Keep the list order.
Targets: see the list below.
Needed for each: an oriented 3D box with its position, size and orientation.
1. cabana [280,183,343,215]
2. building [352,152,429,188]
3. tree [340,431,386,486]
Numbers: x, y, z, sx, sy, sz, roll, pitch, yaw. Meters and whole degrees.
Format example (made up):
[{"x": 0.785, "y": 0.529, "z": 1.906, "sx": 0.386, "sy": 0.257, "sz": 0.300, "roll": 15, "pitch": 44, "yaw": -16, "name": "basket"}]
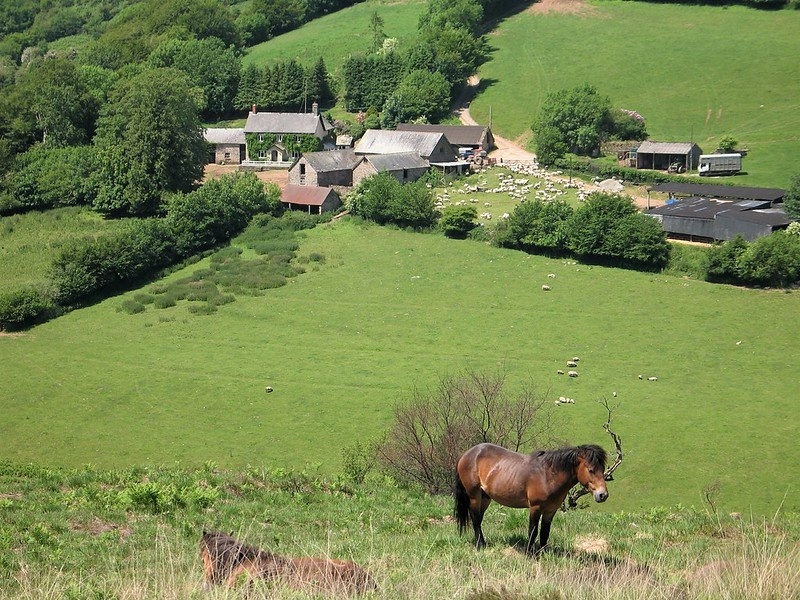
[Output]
[{"x": -12.422, "y": -14.076, "z": 204.027, "sx": 7.059, "sy": 2.708, "sz": 4.081, "roll": 12, "pitch": 35, "yaw": 27, "name": "cabana"}, {"x": -1.372, "y": -18.208, "z": 211.129, "sx": 10.852, "sy": 4.712, "sz": 5.182, "roll": -5, "pitch": 13, "yaw": -43, "name": "building"}, {"x": -4.274, "y": 17.180, "z": 151.263, "sx": 3.531, "sy": 5.171, "sz": 4.618, "roll": 6, "pitch": 35, "yaw": -1, "name": "tree"}]
